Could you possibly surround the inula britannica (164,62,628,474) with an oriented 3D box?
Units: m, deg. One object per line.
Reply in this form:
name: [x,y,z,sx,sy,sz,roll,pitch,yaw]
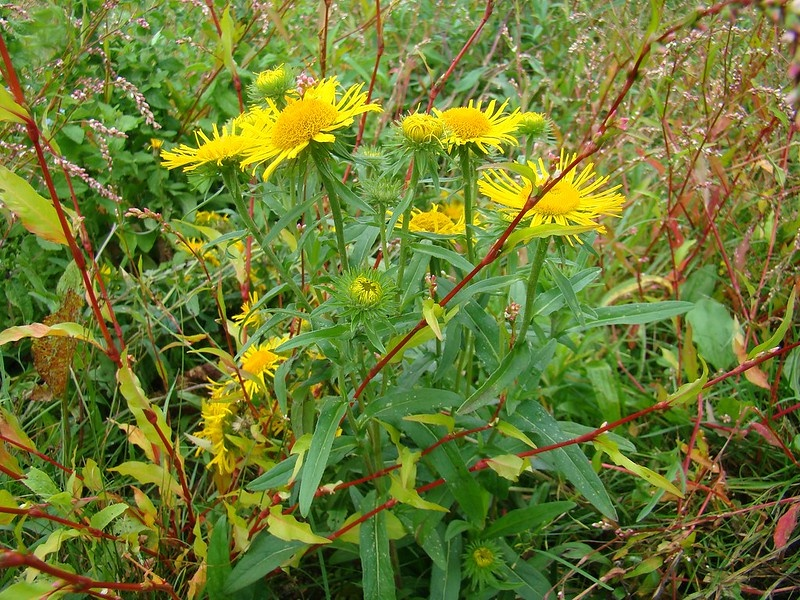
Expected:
inula britannica: [-0.005,-0.149,1.988,1.009,0.279,0.993,18,64,39]
